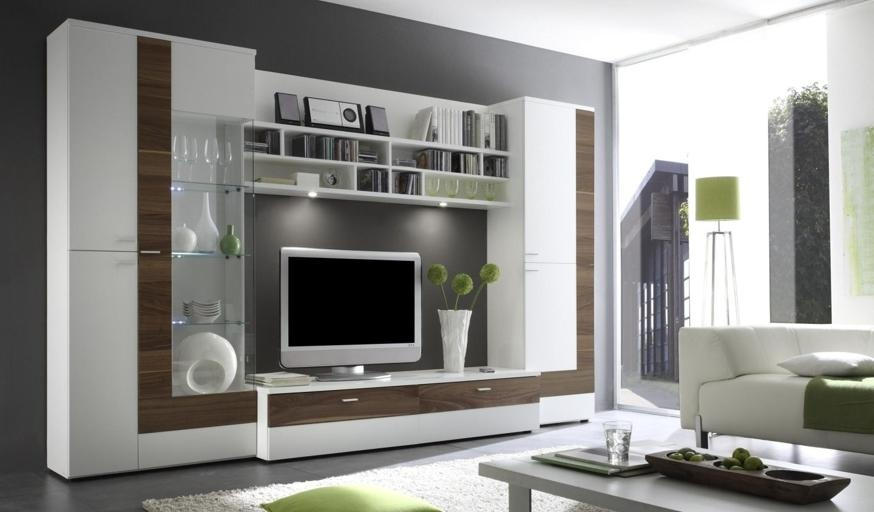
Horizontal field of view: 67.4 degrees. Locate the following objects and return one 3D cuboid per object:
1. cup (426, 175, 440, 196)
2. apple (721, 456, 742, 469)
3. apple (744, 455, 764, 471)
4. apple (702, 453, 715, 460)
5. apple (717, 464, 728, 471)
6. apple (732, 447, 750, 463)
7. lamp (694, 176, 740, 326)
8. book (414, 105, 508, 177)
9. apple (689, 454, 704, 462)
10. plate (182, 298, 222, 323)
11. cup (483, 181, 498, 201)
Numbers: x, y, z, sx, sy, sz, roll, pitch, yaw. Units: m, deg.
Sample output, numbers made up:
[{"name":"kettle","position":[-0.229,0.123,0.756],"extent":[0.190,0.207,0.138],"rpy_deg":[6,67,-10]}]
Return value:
[{"name":"cup","position":[-0.058,-0.737,6.860],"extent":[0.230,0.210,0.200],"rpy_deg":[0,-1,-12]},{"name":"apple","position":[1.635,1.143,3.622],"extent":[0.074,0.030,0.076],"rpy_deg":[-2,-1,43]},{"name":"apple","position":[1.730,1.135,3.580],"extent":[0.107,0.078,0.071],"rpy_deg":[2,0,16]},{"name":"apple","position":[1.551,1.154,3.756],"extent":[0.066,0.022,0.071],"rpy_deg":[2,0,29]},{"name":"apple","position":[1.567,1.168,3.605],"extent":[0.040,0.026,0.039],"rpy_deg":[0,1,-33]},{"name":"apple","position":[1.700,1.137,3.691],"extent":[0.086,0.074,0.083],"rpy_deg":[-3,10,-38]},{"name":"lamp","position":[3.034,-0.046,7.092],"extent":[0.487,1.696,0.598],"rpy_deg":[2,0,23]},{"name":"book","position":[0.217,-1.198,6.959],"extent":[0.975,0.665,0.289],"rpy_deg":[2,1,-23]},{"name":"apple","position":[1.456,1.141,3.686],"extent":[0.060,0.030,0.038],"rpy_deg":[-3,3,-20]},{"name":"plate","position":[-2.021,0.471,5.629],"extent":[0.248,0.113,0.226],"rpy_deg":[1,-2,-4]},{"name":"cup","position":[0.570,-0.707,7.114],"extent":[0.204,0.264,0.185],"rpy_deg":[-1,-1,-4]}]
